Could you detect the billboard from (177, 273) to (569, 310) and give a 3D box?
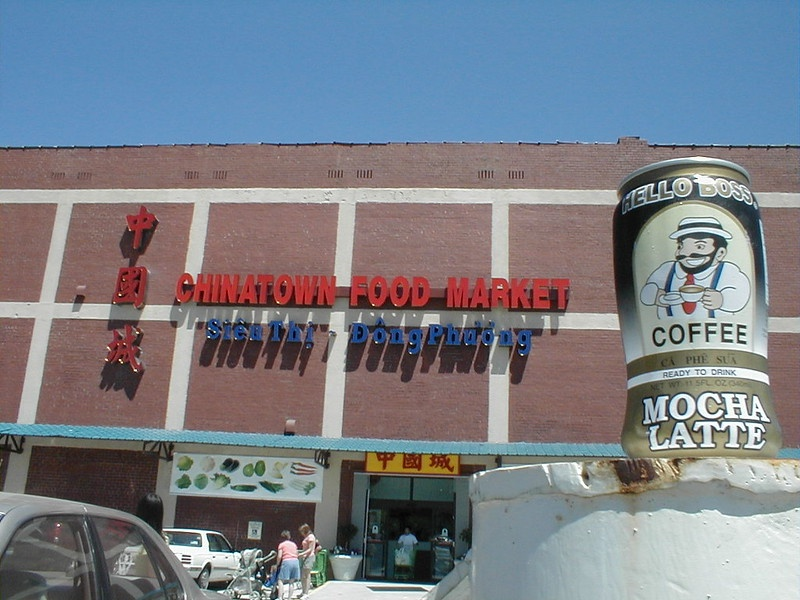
[{"bbox_3d":[-0.829,-0.252,30.343,10.936,1.416,0.498,-2,-22,6],"label":"billboard"}]

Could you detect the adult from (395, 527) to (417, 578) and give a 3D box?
[{"bbox_3d":[0.113,6.751,28.715,0.524,1.235,0.329,3,-17,11],"label":"adult"}]

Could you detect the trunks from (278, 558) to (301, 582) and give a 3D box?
[{"bbox_3d":[-2.401,5.744,22.739,0.680,0.567,0.376,1,-1,-3],"label":"trunks"}]

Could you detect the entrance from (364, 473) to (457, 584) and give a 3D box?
[{"bbox_3d":[0.234,6.144,28.877,2.467,2.776,0.691,2,-22,-3],"label":"entrance"}]
